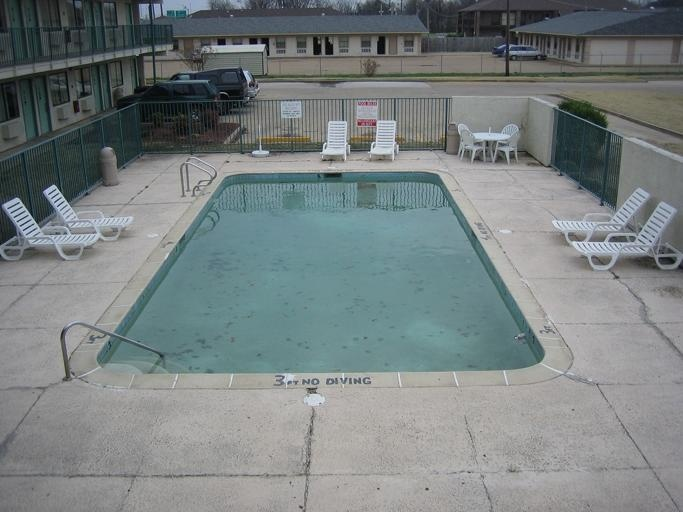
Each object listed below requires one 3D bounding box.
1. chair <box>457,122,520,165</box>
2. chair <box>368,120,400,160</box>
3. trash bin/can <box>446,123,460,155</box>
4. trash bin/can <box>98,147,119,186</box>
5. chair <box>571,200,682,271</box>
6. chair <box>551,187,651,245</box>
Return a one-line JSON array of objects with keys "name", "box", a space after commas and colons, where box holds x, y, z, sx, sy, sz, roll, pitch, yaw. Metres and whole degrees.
[{"name": "chair", "box": [5.715, -4.426, 17.151, 2.280, 1.313, 1.883, 4, 24, 11]}, {"name": "chair", "box": [1.760, -4.715, 17.765, 1.116, 1.170, 1.918, 2, 33, 9]}, {"name": "trash bin/can", "box": [4.599, -4.792, 18.017, 0.782, 1.223, 0.968, 1, 26, 4]}, {"name": "trash bin/can", "box": [-7.765, -2.965, 14.604, 0.535, 1.200, 0.628, 2, 25, 6]}, {"name": "chair", "box": [6.104, -0.497, 9.209, 2.359, 1.294, 1.220, 0, 25, 6]}, {"name": "chair", "box": [6.144, -0.956, 10.345, 2.167, 1.228, 1.081, -1, 24, 5]}]
